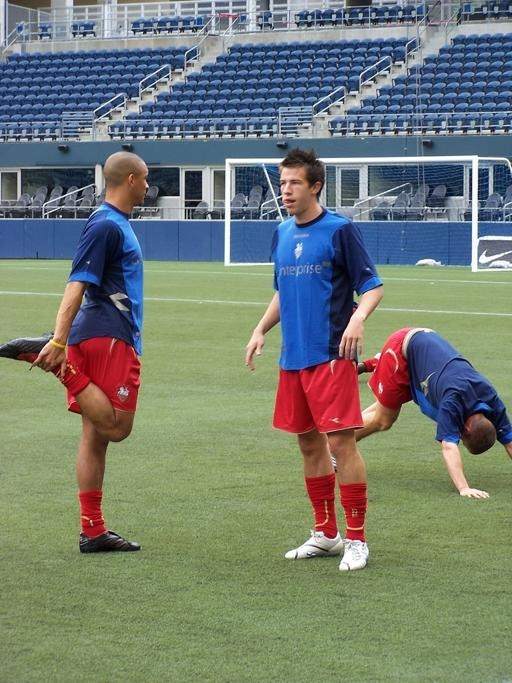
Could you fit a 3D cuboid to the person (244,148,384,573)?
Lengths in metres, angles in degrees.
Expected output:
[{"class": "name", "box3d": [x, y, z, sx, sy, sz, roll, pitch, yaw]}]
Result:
[{"class": "person", "box3d": [0.248, 0.064, 5.336, 0.501, 1.628, 0.337, 3, 8, 20]}]

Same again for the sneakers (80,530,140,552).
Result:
[{"class": "sneakers", "box3d": [-0.604, 0.805, 5.487, 0.272, 0.097, 0.086, 0, -1, -12]}]

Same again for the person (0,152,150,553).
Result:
[{"class": "person", "box3d": [-0.678, 0.050, 5.404, 0.651, 1.597, 0.318, -5, 9, -31]}]

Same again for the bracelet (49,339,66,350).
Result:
[{"class": "bracelet", "box3d": [-0.769, 0.010, 5.206, 0.046, 0.017, 0.045, 22, 6, -25]}]

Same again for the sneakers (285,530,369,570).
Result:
[{"class": "sneakers", "box3d": [0.251, 0.828, 5.356, 0.385, 0.140, 0.125, 1, 1, 9]}]
